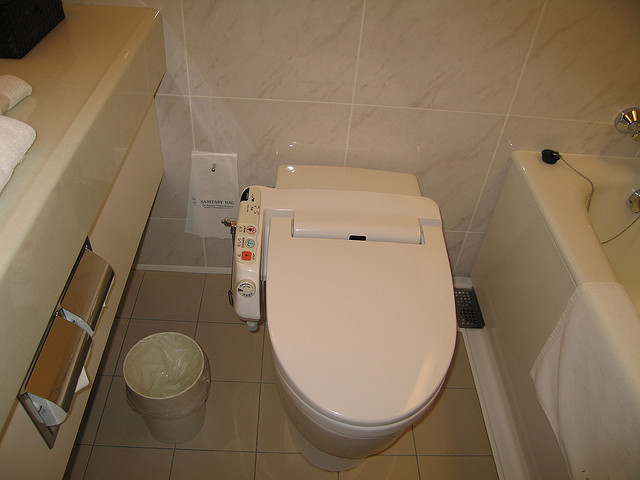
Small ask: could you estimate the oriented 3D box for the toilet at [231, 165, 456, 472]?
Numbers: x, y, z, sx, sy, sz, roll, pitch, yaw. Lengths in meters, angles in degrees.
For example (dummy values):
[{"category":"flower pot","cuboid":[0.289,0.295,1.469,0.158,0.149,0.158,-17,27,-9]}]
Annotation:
[{"category":"toilet","cuboid":[0.081,0.256,1.521,0.570,0.759,0.809,0,61,0]}]
